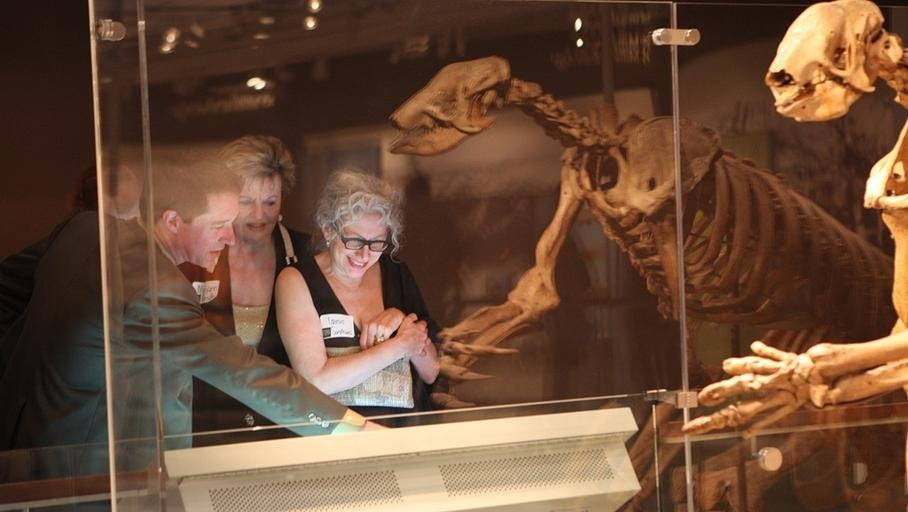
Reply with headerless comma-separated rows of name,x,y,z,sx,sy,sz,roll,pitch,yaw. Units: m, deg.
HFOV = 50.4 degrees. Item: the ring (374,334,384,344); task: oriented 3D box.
ring,-0.267,0.298,3.500,0.028,0.013,0.033,0,-17,-10
